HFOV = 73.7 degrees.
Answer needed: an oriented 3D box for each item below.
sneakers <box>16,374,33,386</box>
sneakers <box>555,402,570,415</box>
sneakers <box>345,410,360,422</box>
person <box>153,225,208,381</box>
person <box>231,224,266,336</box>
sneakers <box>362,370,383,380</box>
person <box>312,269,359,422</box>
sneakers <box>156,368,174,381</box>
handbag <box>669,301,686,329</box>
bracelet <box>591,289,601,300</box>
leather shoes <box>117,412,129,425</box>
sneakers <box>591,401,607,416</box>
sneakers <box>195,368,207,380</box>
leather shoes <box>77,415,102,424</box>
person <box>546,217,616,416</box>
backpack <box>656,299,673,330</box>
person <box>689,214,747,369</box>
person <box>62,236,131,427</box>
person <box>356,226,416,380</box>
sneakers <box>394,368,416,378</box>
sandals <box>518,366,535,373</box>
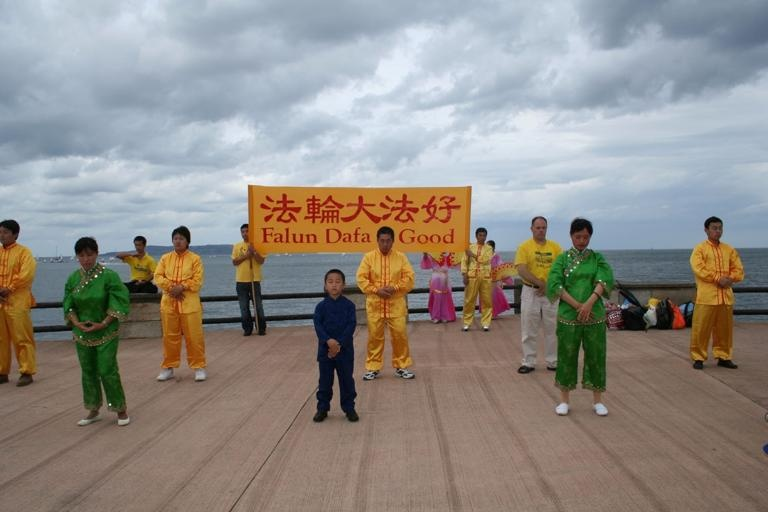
[{"bbox_3d":[-5.549,1.891,7.901,0.210,0.151,0.329,-6,11,-28],"label":"sneakers"},{"bbox_3d":[2.215,1.893,6.345,0.178,0.101,0.186,1,10,12],"label":"sneakers"},{"bbox_3d":[-0.397,1.962,6.328,0.160,0.105,0.179,-3,10,-10],"label":"sneakers"},{"bbox_3d":[-3.174,0.755,7.899,0.791,2.370,1.060,-6,10,-25],"label":"person"},{"bbox_3d":[-2.769,0.481,10.543,0.613,2.350,1.155,-4,10,-16],"label":"person"},{"bbox_3d":[-0.195,1.813,7.776,0.263,0.119,0.103,5,-7,-35],"label":"sneakers"},{"bbox_3d":[-0.635,1.106,6.461,0.555,1.848,0.733,-2,9,-4],"label":"person"},{"bbox_3d":[-3.391,1.846,7.922,0.115,0.235,0.318,-11,-21,18],"label":"sneakers"},{"bbox_3d":[5.979,1.227,10.459,0.491,0.588,0.308,4,-11,-42],"label":"handbag"},{"bbox_3d":[2.615,0.482,6.309,0.080,0.102,0.041,-17,-2,24],"label":"bracelet"},{"bbox_3d":[-3.237,2.024,6.364,0.084,0.089,0.229,2,-4,-4],"label":"leather shoes"},{"bbox_3d":[2.687,1.883,6.335,0.172,0.110,0.216,1,10,12],"label":"sneakers"},{"bbox_3d":[-2.817,1.805,7.825,0.179,0.171,0.273,-5,10,-21],"label":"sneakers"},{"bbox_3d":[-3.696,2.053,6.429,0.090,0.095,0.246,-5,-13,37],"label":"leather shoes"},{"bbox_3d":[2.429,0.739,6.406,0.760,2.354,0.681,2,10,21],"label":"person"},{"bbox_3d":[5.683,1.193,10.368,0.404,0.516,0.211,9,-10,-33],"label":"backpack"},{"bbox_3d":[5.131,0.576,7.860,0.721,2.285,0.902,3,10,23],"label":"person"},{"bbox_3d":[-3.636,0.931,6.412,0.787,2.296,0.819,-4,10,-13],"label":"person"},{"bbox_3d":[0.020,0.719,7.796,0.846,2.292,0.668,-2,9,-1],"label":"person"},{"bbox_3d":[0.310,1.790,7.809,0.321,0.142,0.118,-5,-7,37],"label":"sneakers"},{"bbox_3d":[2.177,1.746,7.859,0.096,0.090,0.248,-10,-14,38],"label":"sandals"}]
